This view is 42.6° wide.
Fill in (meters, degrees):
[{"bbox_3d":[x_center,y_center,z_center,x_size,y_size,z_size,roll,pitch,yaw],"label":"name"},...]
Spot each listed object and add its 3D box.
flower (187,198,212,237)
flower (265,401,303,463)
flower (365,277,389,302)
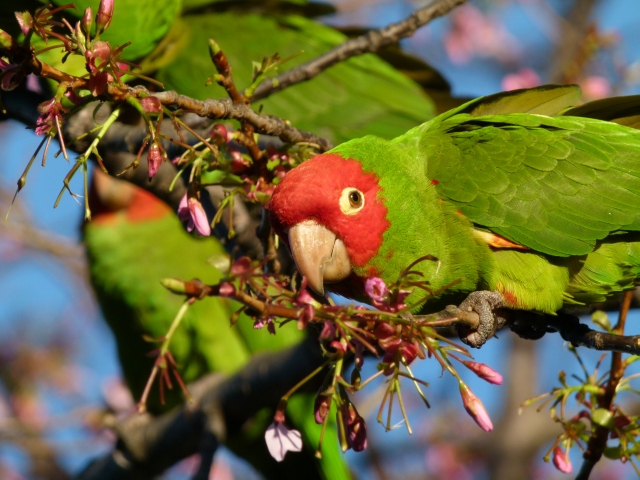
[{"bbox_3d":[-0.506,-0.091,3.414,0.076,0.061,0.169,-12,71,-52],"label":"flower"},{"bbox_3d":[-0.170,0.789,3.331,0.145,0.062,0.251,1,77,-21],"label":"flower"},{"bbox_3d":[0.232,0.205,3.333,0.090,0.106,0.108,9,33,9],"label":"flower"}]
